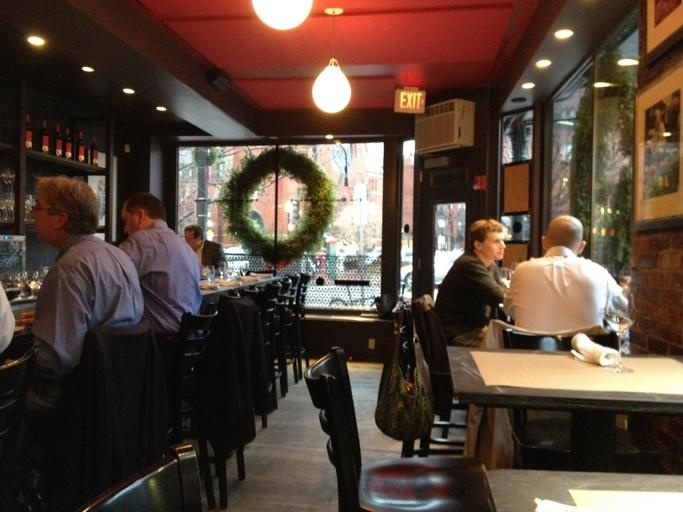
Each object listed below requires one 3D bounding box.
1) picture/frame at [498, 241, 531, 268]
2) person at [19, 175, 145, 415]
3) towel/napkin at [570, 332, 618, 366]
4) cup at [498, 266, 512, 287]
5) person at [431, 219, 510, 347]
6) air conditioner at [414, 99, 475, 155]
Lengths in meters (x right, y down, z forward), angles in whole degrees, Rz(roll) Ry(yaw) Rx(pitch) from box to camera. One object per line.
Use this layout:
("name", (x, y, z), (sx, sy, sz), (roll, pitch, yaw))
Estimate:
("picture/frame", (1.683, -0.032, 5.776), (0.085, 0.249, 0.251), (4, -6, -20))
("person", (-1.335, 0.170, 3.079), (0.556, 1.174, 0.663), (-1, 4, -15))
("towel/napkin", (1.189, 0.439, 2.826), (0.124, 0.065, 0.151), (-36, 22, -13))
("cup", (1.407, 0.174, 5.140), (0.127, 0.260, 0.134), (0, -3, 0))
("person", (1.036, 0.347, 4.588), (0.590, 1.212, 0.493), (6, 6, 38))
("air conditioner", (1.146, -1.500, 6.997), (0.380, 0.571, 0.771), (4, -3, -35))
